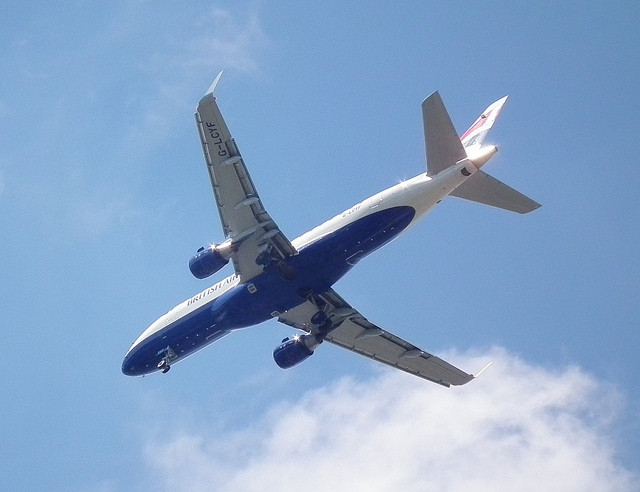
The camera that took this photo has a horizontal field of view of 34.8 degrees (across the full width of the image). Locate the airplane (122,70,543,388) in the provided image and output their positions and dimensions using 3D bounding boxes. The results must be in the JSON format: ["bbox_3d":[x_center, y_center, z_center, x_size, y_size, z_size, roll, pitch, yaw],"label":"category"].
[{"bbox_3d":[0.131,0.494,44.184,15.241,5.269,13.824,-27,-73,19],"label":"airplane"}]
